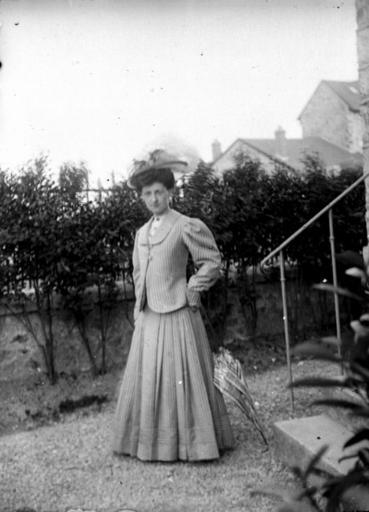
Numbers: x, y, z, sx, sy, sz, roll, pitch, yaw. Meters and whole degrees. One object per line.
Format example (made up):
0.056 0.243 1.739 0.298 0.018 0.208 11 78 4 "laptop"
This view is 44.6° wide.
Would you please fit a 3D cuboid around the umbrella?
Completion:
0.187 0.569 2.701 0.176 0.230 1.275 16 38 -32 "umbrella"
